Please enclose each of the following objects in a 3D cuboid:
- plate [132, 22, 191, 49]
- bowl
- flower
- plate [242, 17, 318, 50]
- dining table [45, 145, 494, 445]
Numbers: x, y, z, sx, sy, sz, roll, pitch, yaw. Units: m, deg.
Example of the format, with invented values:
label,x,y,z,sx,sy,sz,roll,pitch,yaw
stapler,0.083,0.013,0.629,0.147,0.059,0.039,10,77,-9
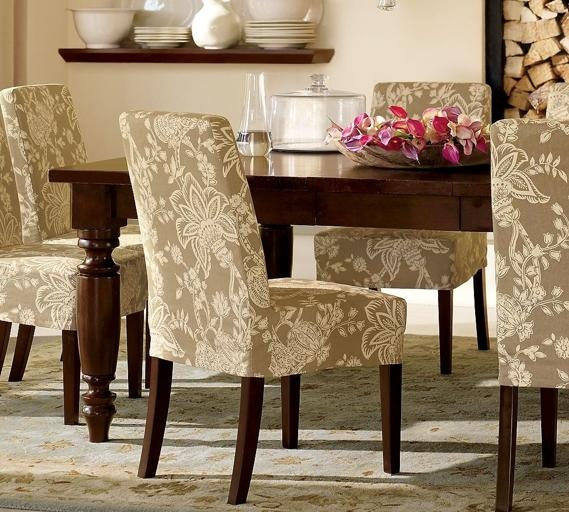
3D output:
label,x,y,z,sx,sy,sz,roll,pitch,yaw
plate,-0.828,-1.472,4.124,0.378,0.131,0.125,-1,5,-5
bowl,-1.231,-1.532,4.096,0.452,0.192,0.310,0,6,-1
flower,0.382,-0.367,1.670,0.336,0.106,0.335,-11,14,-42
plate,-0.031,-1.427,3.927,0.285,0.093,0.256,-2,9,-11
dining table,-0.065,0.191,1.805,1.155,0.580,0.840,1,7,11
